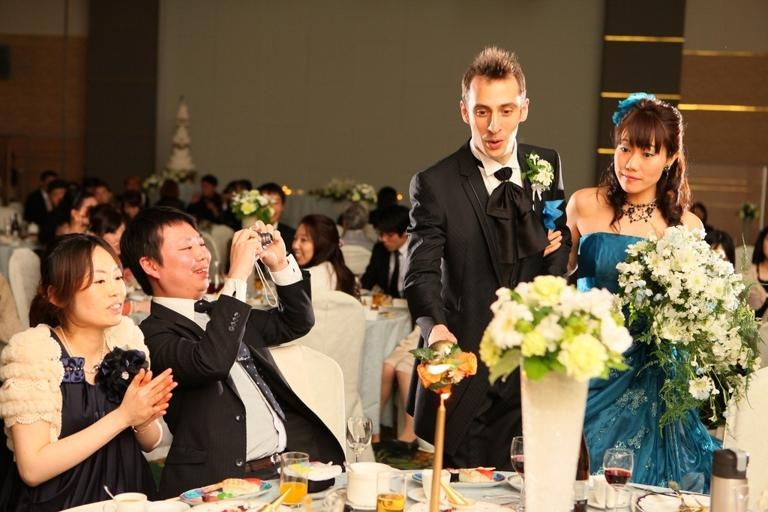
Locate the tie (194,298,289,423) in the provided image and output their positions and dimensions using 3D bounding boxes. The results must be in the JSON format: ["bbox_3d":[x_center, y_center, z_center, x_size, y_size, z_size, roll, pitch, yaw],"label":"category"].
[{"bbox_3d":[-0.650,0.463,2.906,0.249,0.601,0.159,-33,-3,-42],"label":"tie"}]

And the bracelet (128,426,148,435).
[{"bbox_3d":[-0.925,0.650,2.637,0.040,0.034,0.043,3,3,-3],"label":"bracelet"}]

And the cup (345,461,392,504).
[{"bbox_3d":[-0.056,0.751,2.320,0.130,0.132,0.144,1,-3,14],"label":"cup"}]

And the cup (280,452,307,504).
[{"bbox_3d":[-0.295,0.726,2.298,0.090,0.156,0.126,2,-3,-9],"label":"cup"}]
